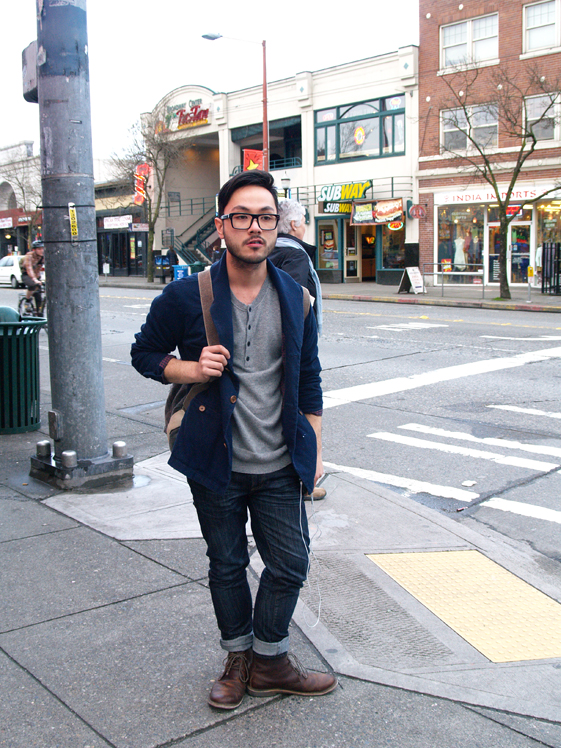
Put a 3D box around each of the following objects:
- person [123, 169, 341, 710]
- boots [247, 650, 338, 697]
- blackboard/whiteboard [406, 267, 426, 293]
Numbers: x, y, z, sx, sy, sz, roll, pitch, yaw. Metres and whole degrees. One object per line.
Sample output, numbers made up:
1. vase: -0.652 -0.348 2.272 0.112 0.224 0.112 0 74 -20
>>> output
1. person: -0.126 0.204 2.260 0.614 1.708 0.437 0 6 -33
2. boots: 0.013 1.007 2.353 0.329 0.195 0.124 0 -5 -9
3. blackboard/whiteboard: 5.105 -3.579 26.283 0.437 1.037 0.871 -1 6 -36
